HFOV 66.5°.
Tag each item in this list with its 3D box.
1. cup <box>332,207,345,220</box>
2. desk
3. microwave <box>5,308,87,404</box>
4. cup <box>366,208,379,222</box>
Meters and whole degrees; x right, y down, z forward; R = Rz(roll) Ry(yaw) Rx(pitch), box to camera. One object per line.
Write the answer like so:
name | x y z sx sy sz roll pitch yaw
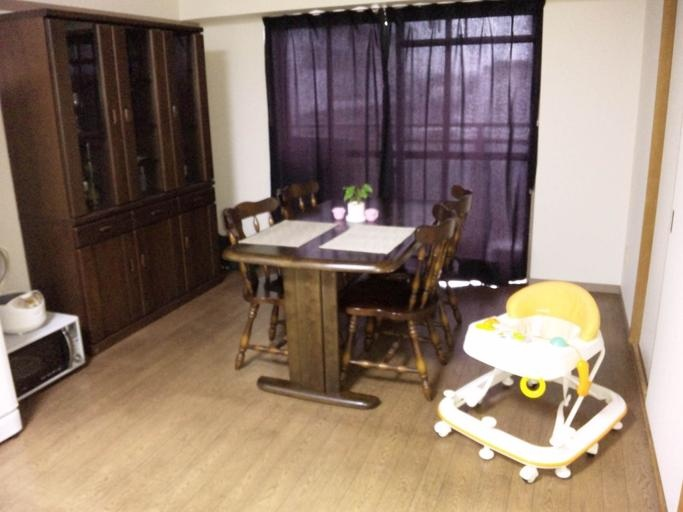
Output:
cup | -0.031 -0.294 3.556 0.090 0.073 0.092 -3 8 0
desk | 0.081 0.221 3.709 1.332 1.052 1.795 4 13 16
microwave | -1.826 0.602 3.236 0.393 0.407 0.591 4 18 15
cup | 0.207 -0.282 3.501 0.085 0.072 0.088 -2 8 0
